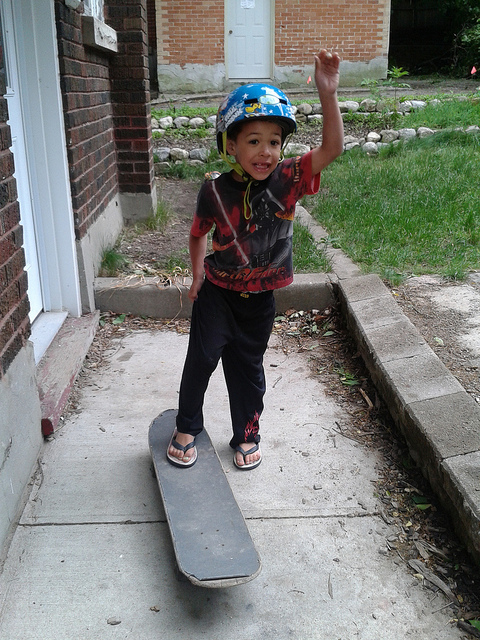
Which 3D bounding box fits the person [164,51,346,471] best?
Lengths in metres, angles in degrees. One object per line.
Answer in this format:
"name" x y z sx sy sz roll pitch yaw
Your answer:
"person" 0.033 -0.098 1.863 0.584 1.531 0.426 3 20 6
